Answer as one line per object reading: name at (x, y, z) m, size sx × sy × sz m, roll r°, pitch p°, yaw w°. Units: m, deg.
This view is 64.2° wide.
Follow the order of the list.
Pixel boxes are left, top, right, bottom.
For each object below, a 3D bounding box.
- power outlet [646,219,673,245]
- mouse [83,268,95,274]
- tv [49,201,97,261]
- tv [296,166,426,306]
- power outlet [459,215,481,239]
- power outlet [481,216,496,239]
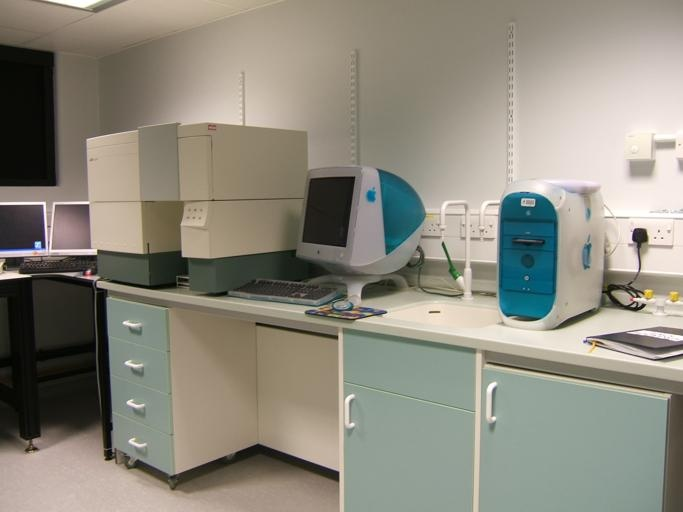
power outlet at (1.218, -0.089, 2.073) m, size 0.079 × 0.131 × 0.086 m, roll -1°, pitch 1°, yaw -45°
mouse at (-1.551, 0.097, 3.355) m, size 0.042 × 0.033 × 0.044 m, roll 1°, pitch -2°, yaw -6°
tv at (-1.826, -0.164, 3.717) m, size 0.367 × 0.461 × 0.055 m, roll -1°, pitch -2°, yaw -8°
tv at (0.055, -0.111, 2.641) m, size 0.548 × 0.770 × 0.550 m, roll -6°, pitch 9°, yaw -42°
power outlet at (0.589, -0.131, 2.474) m, size 0.101 × 0.103 × 0.053 m, roll -3°, pitch -4°, yaw 44°
power outlet at (0.658, -0.131, 2.429) m, size 0.061 × 0.123 × 0.081 m, roll -6°, pitch 8°, yaw -43°
